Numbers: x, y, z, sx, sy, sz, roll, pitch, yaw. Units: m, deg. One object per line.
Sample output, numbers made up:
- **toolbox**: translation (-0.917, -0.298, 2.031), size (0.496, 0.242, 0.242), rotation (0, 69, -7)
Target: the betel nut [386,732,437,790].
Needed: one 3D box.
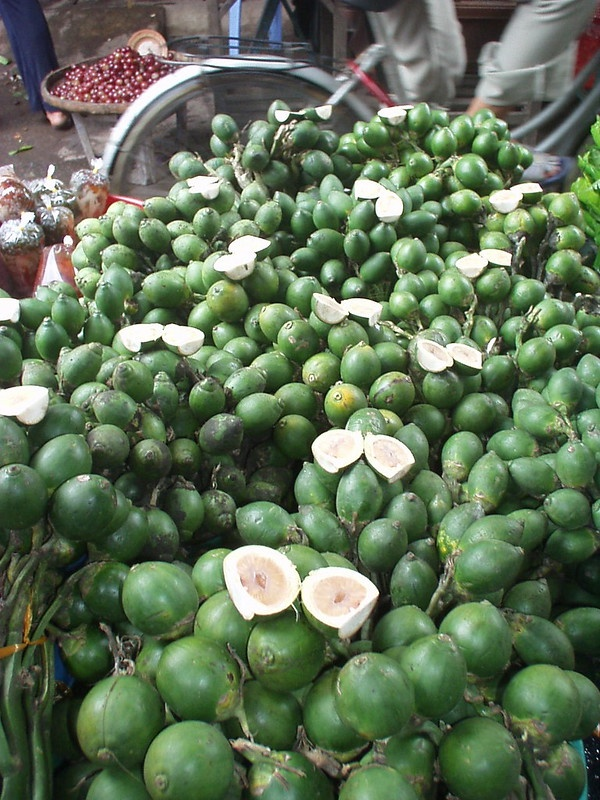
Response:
- **betel nut**: translation (0.208, 0.665, 1.343), size (0.089, 0.080, 0.111), rotation (5, -5, -4)

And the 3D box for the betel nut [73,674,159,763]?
- **betel nut**: translation (-0.322, 0.583, 1.325), size (0.168, 0.188, 0.143), rotation (-4, 64, 2)
